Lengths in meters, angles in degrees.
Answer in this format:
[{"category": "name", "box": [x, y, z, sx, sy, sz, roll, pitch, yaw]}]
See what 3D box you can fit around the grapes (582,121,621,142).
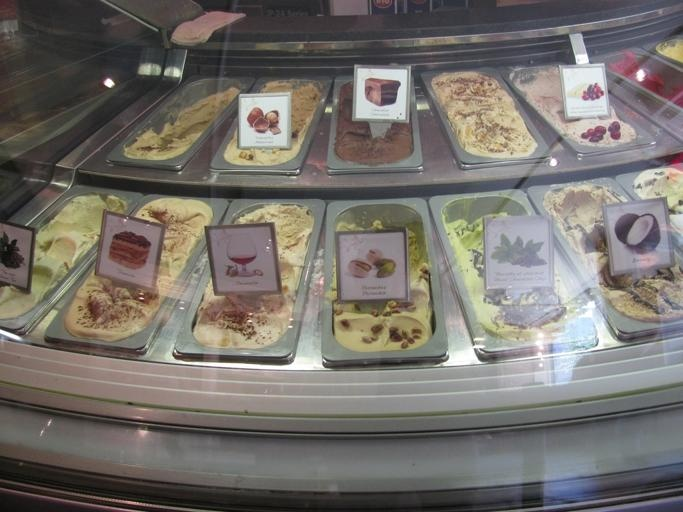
[{"category": "grapes", "box": [1.015, -0.480, 1.808, 0.155, 0.067, 0.042, 0, -20, 6]}]
